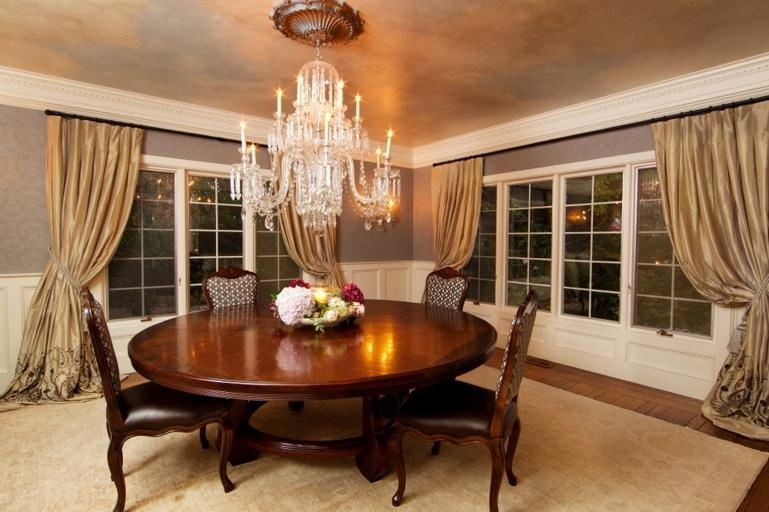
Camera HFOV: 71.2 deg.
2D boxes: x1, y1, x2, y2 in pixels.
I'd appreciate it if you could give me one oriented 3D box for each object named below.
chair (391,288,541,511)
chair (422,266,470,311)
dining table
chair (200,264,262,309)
[{"bbox_3d":[0.660,1.149,4.389,1.099,1.733,0.518,1,3,15],"label":"chair"},{"bbox_3d":[0.688,0.370,6.016,0.426,0.692,0.491,-1,-10,35],"label":"chair"},{"bbox_3d":[-0.751,0.833,4.485,1.944,0.651,1.929,-2,1,-43],"label":"dining table"},{"bbox_3d":[-1.676,0.322,5.978,0.505,0.723,0.474,1,0,-23],"label":"chair"}]
